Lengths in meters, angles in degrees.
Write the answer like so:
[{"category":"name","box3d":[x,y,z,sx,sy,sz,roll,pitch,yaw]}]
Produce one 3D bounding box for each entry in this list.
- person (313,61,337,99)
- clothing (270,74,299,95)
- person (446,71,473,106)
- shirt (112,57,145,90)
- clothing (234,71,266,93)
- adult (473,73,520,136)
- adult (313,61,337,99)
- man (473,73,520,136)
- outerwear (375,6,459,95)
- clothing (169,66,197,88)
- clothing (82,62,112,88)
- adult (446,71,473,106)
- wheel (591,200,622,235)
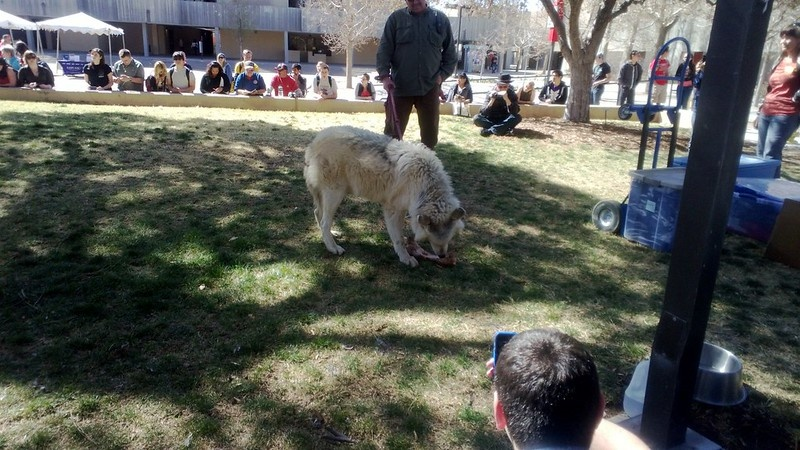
[{"category":"person","box3d":[-2.500,-4.794,14.672,0.782,1.105,1.350,-3,20,-10]},{"category":"clothing","box3d":[-3.829,-4.682,14.814,0.783,0.630,0.347,8,30,13]},{"category":"person","box3d":[2.082,-4.568,15.325,0.926,1.344,0.778,1,10,-8]},{"category":"shirt","box3d":[-8.736,-4.671,14.267,1.000,1.230,0.792,-1,19,-14]},{"category":"clothing","box3d":[-4.901,-4.633,14.397,1.182,0.838,0.592,0,11,-7]},{"category":"adult","box3d":[2.928,-3.543,13.080,1.399,1.672,1.040,-12,23,-32]},{"category":"adult","box3d":[-2.498,-4.790,14.661,0.782,1.105,1.374,-3,20,-10]},{"category":"man","box3d":[2.933,-3.546,13.088,1.385,1.672,1.043,-12,23,-31]},{"category":"outerwear","box3d":[0.320,-3.065,7.830,1.431,1.479,0.647,-2,20,-8]},{"category":"clothing","box3d":[-7.014,-4.750,14.268,0.698,0.656,0.554,-8,21,-24]},{"category":"clothing","box3d":[-9.419,-4.684,13.869,0.718,0.756,0.609,-11,23,-31]},{"category":"adult","box3d":[2.095,-4.570,15.330,0.925,1.365,0.753,-1,9,-21]},{"category":"wheel","box3d":[3.728,-0.136,7.885,0.240,0.605,0.617,3,-1,-30]}]
